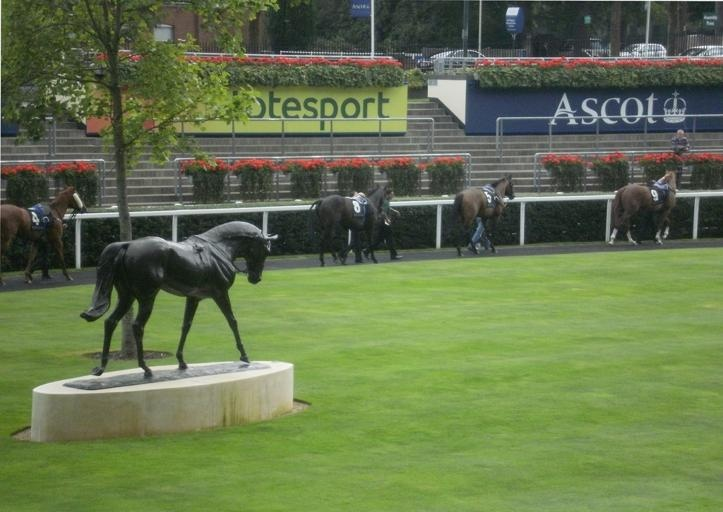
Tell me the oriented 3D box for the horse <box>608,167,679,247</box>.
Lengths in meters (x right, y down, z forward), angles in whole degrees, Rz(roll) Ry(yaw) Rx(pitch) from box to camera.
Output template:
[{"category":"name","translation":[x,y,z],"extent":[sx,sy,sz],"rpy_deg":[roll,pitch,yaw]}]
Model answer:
[{"category":"horse","translation":[5.958,-1.043,35.512],"extent":[1.992,1.588,0.500],"rpy_deg":[-1,1,-26]}]

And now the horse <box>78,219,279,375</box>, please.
[{"category":"horse","translation":[-2.619,0.575,25.006],"extent":[3.390,2.367,0.835],"rpy_deg":[2,-1,-43]}]

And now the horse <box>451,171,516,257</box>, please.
[{"category":"horse","translation":[2.412,-0.830,34.272],"extent":[0.538,1.575,2.238],"rpy_deg":[1,5,40]}]

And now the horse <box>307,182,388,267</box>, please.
[{"category":"horse","translation":[-0.185,-0.612,32.641],"extent":[2.263,1.482,0.568],"rpy_deg":[-3,1,-44]}]
